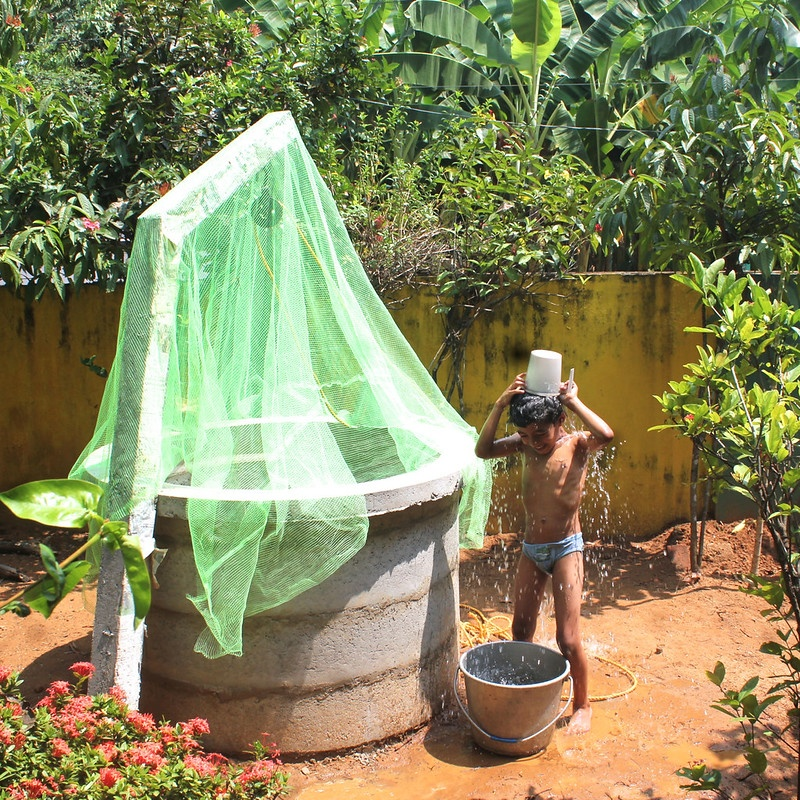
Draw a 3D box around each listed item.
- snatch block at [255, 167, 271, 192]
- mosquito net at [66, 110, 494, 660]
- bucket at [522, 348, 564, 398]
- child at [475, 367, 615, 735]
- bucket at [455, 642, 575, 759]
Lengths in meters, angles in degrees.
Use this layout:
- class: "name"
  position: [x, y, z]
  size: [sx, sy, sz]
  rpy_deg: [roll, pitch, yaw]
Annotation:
- class: "snatch block"
  position: [-0.680, -0.850, 4.566]
  size: [0.024, 0.089, 0.092]
  rpy_deg: [-1, 25, 35]
- class: "mosquito net"
  position: [-0.523, -0.064, 4.553]
  size: [1.972, 2.057, 0.777]
  rpy_deg: [-4, 13, -21]
- class: "bucket"
  position: [0.825, -0.105, 4.921]
  size: [0.198, 0.190, 0.188]
  rpy_deg: [5, -2, 0]
- class: "child"
  position: [0.859, 0.635, 4.972]
  size: [0.754, 1.471, 0.420]
  rpy_deg: [2, 5, 31]
- class: "bucket"
  position: [0.642, 1.248, 4.798]
  size: [0.549, 0.369, 0.534]
  rpy_deg: [0, 8, 0]
